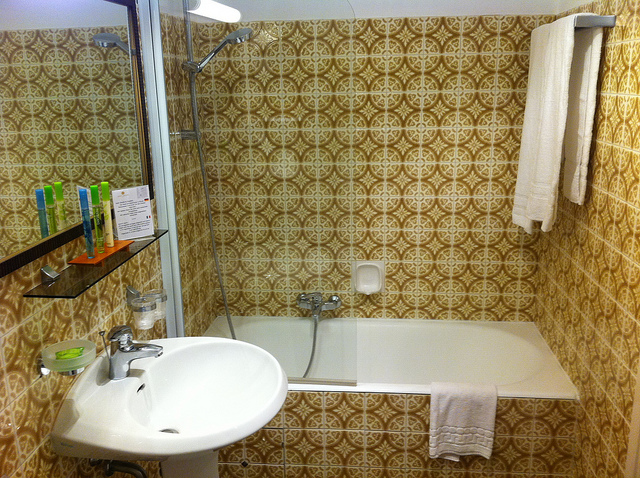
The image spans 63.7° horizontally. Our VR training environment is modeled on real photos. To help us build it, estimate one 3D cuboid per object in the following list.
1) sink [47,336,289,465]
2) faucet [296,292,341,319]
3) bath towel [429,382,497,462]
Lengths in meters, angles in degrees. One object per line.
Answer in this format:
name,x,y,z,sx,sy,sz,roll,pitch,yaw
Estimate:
sink,-0.556,0.616,2.002,0.591,0.266,0.672,5,11,-5
faucet,-0.015,0.345,2.809,0.175,0.106,0.144,1,17,5
bath towel,0.766,0.979,2.795,0.340,0.402,0.232,6,-24,17
